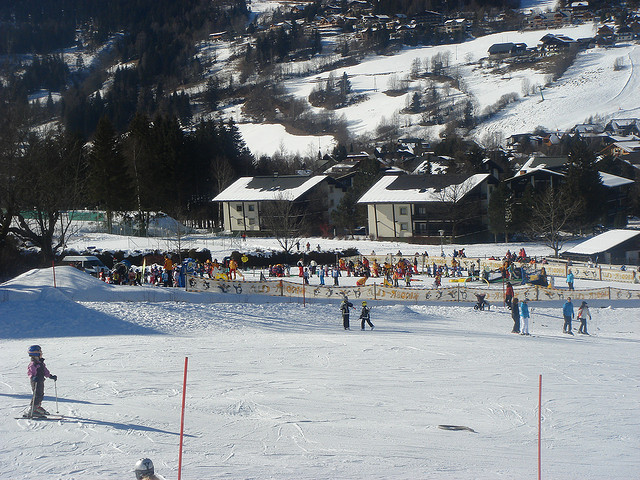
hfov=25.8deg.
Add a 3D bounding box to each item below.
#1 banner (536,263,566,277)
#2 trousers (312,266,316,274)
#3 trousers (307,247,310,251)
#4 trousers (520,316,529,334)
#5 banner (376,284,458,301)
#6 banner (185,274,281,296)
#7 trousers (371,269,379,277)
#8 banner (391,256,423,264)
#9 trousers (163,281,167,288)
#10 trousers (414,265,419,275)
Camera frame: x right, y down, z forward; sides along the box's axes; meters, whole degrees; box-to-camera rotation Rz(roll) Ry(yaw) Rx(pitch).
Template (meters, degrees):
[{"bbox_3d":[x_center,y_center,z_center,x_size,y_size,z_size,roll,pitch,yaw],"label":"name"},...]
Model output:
[{"bbox_3d":[41.817,5.456,253.594,4.929,2.461,1.101,-2,-3,13],"label":"banner"},{"bbox_3d":[-1.152,5.352,254.179,0.326,1.386,0.836,-3,-3,30],"label":"trousers"},{"bbox_3d":[-2.263,1.521,263.254,0.605,0.687,1.179,3,3,-3],"label":"trousers"},{"bbox_3d":[34.443,14.442,237.598,1.247,3.011,0.834,-1,-3,6],"label":"trousers"},{"bbox_3d":[16.767,9.337,244.010,13.887,2.744,0.382,-1,-3,0],"label":"banner"},{"bbox_3d":[-15.267,7.813,243.056,15.828,3.990,1.930,-2,-3,3],"label":"banner"},{"bbox_3d":[9.878,5.923,253.854,1.163,1.305,0.294,9,9,12],"label":"trousers"},{"bbox_3d":[15.901,3.547,257.139,5.652,1.530,2.146,-1,-3,1],"label":"banner"},{"bbox_3d":[-27.030,7.636,244.296,0.709,1.026,1.332,-1,-3,-11],"label":"trousers"},{"bbox_3d":[17.418,5.317,254.815,0.626,1.744,1.190,-3,-4,39],"label":"trousers"}]
